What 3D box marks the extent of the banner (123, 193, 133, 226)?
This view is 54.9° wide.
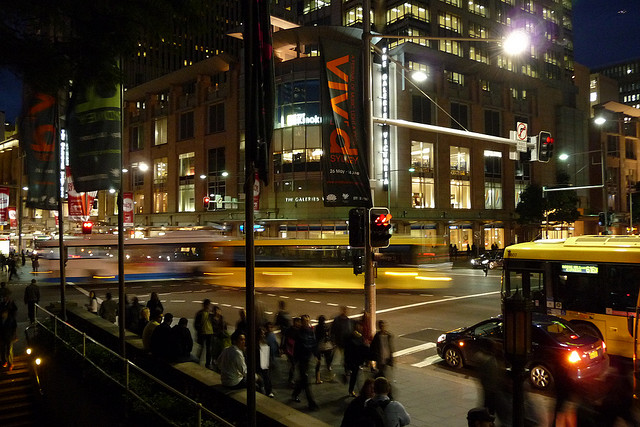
[{"bbox_3d":[-14.772,-0.352,47.414,0.888,2.537,0.739,-1,-5,9],"label":"banner"}]

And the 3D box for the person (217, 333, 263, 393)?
[{"bbox_3d":[-2.945,4.932,20.695,0.865,1.666,1.428,1,-6,-11],"label":"person"}]

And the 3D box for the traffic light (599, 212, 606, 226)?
[{"bbox_3d":[19.654,0.397,42.678,0.283,0.950,1.541,-2,-6,20],"label":"traffic light"}]

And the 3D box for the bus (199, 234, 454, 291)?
[{"bbox_3d":[-0.009,2.908,35.311,13.608,3.356,3.715,-1,-5,12],"label":"bus"}]

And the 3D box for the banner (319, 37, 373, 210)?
[{"bbox_3d":[0.952,-3.505,24.214,2.081,6.569,0.405,2,-6,-24],"label":"banner"}]

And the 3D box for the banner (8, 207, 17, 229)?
[{"bbox_3d":[-37.347,0.317,74.537,0.634,3.073,9.836,2,-7,-27],"label":"banner"}]

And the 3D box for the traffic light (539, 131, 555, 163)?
[{"bbox_3d":[10.068,-2.990,27.365,0.563,1.343,1.218,-2,-6,20],"label":"traffic light"}]

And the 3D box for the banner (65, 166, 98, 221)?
[{"bbox_3d":[-15.767,-1.238,41.055,2.517,3.624,0.094,2,8,17],"label":"banner"}]

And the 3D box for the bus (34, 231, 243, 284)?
[{"bbox_3d":[-12.096,3.031,41.392,13.970,3.922,3.861,-1,1,-18],"label":"bus"}]

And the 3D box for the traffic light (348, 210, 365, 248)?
[{"bbox_3d":[1.460,0.562,24.113,0.613,1.462,0.343,0,-5,-2],"label":"traffic light"}]

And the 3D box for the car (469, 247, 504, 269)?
[{"bbox_3d":[14.201,3.810,52.525,3.485,1.465,2.283,5,-8,-39],"label":"car"}]

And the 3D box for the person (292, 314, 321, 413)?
[{"bbox_3d":[-0.504,5.358,21.983,0.922,3.081,1.335,0,-5,-3],"label":"person"}]

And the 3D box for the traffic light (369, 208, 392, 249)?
[{"bbox_3d":[2.372,0.526,24.248,0.848,1.539,0.576,-1,-5,4],"label":"traffic light"}]

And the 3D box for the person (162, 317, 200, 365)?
[{"bbox_3d":[-5.137,4.554,22.204,1.147,1.535,0.699,5,-8,-44],"label":"person"}]

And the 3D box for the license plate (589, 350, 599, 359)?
[{"bbox_3d":[9.974,5.103,22.397,0.301,0.227,0.044,-6,-6,2],"label":"license plate"}]
